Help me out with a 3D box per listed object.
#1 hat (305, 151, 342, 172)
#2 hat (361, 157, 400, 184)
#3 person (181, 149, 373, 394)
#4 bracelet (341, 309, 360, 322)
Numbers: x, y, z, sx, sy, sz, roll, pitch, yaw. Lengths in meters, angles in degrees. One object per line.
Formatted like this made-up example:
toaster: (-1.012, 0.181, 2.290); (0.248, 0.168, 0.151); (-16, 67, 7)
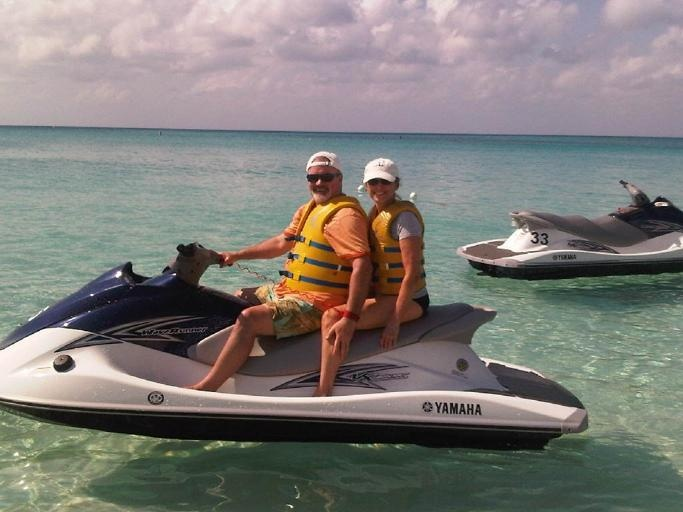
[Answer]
hat: (-0.124, -0.744, 4.715); (0.288, 0.100, 0.216); (3, 7, 6)
hat: (0.324, -0.667, 4.734); (0.267, 0.117, 0.280); (0, 0, 10)
person: (-0.370, 0.073, 4.661); (1.209, 1.760, 1.029); (-1, 10, -3)
bracelet: (0.074, 0.438, 4.376); (0.128, 0.042, 0.104); (16, 3, 14)
